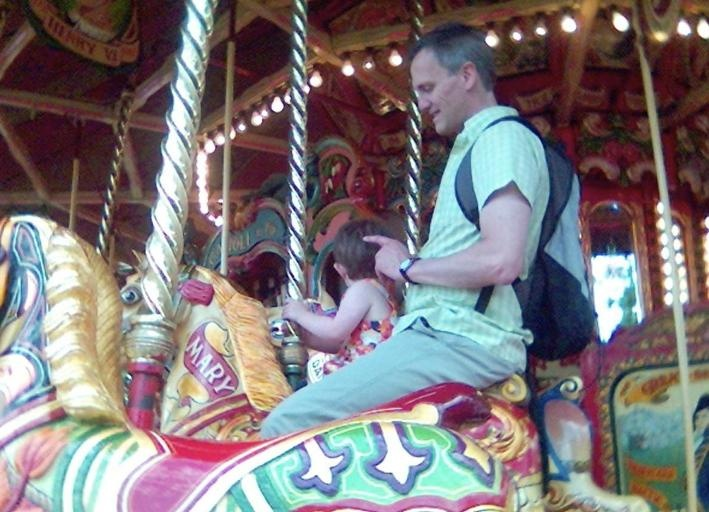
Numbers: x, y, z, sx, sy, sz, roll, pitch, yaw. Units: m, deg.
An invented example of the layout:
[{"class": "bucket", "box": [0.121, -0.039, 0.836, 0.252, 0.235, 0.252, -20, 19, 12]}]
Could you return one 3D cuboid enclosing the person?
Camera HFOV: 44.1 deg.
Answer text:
[{"class": "person", "box": [0.218, 0.047, 3.545, 0.954, 1.873, 0.745, 1, -3, 11]}]
